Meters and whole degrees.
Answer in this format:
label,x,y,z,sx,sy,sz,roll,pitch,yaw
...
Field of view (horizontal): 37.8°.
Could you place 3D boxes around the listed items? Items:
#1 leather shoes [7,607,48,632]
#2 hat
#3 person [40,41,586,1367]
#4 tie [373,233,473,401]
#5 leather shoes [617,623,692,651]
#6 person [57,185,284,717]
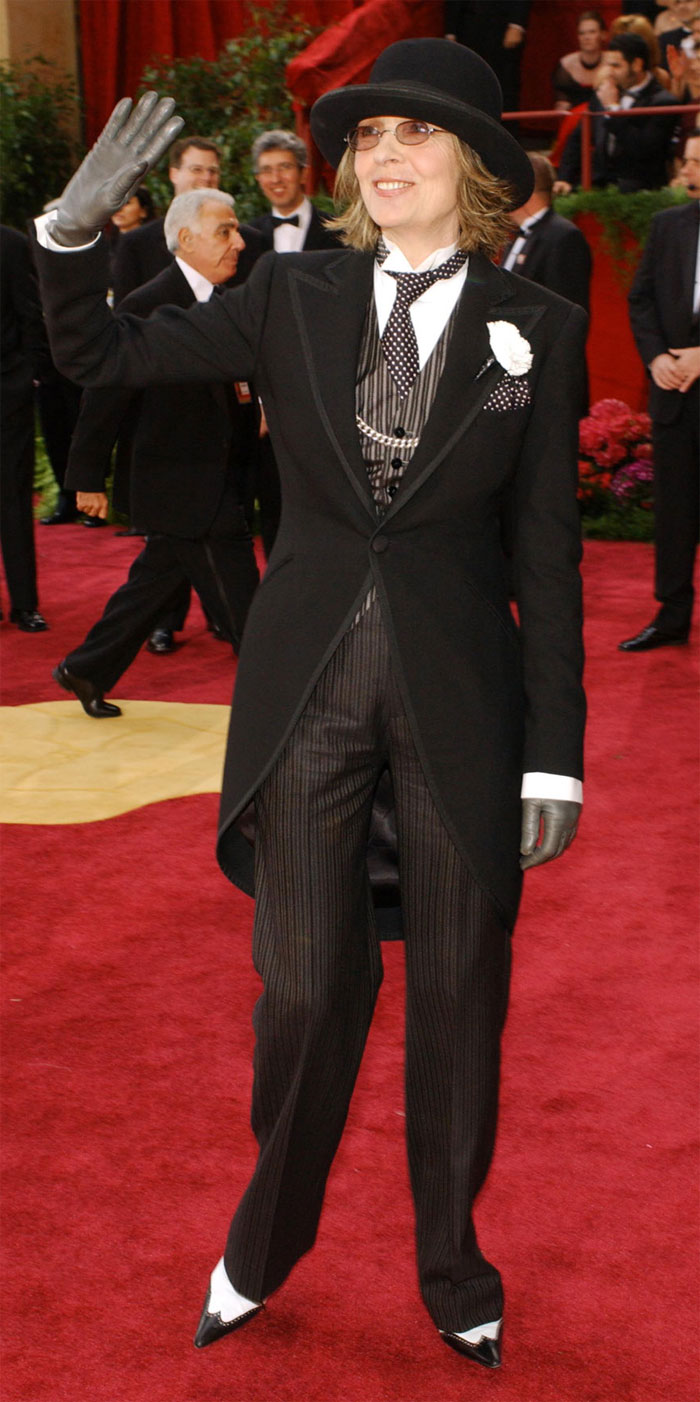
label,x,y,z,sx,sy,sz,roll,pitch,yaw
leather shoes,-1.903,-0.485,6.092,0.106,0.115,0.236,-4,8,-41
hat,0.077,-0.679,1.187,0.272,0.175,0.258,3,11,9
person,-0.021,0.080,1.281,0.607,1.681,0.296,3,9,14
tie,0.074,-0.435,1.161,0.065,0.200,0.027,7,-23,2
leather shoes,1.636,-0.337,5.539,0.439,0.203,0.159,-3,6,-16
person,-0.764,-0.998,4.559,1.024,2.348,0.631,2,23,-5
